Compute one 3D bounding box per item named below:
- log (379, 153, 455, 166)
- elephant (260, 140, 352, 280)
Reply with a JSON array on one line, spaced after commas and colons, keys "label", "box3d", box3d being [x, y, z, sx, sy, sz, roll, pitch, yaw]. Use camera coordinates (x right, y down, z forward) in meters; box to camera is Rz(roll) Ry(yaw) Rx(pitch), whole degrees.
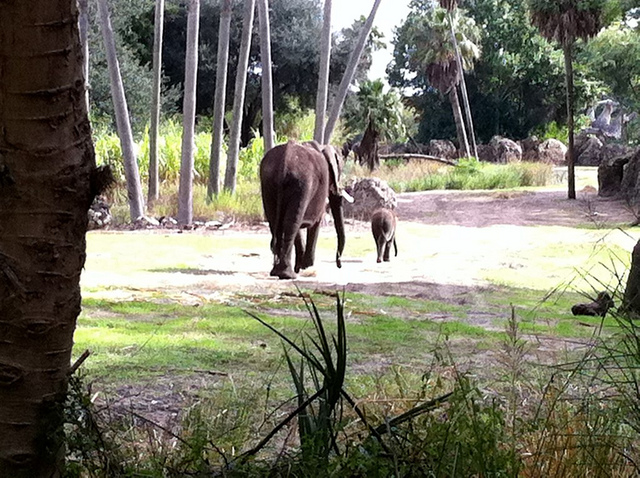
[{"label": "log", "box3d": [3.583, -2.894, 29.593, 2.600, 0.573, 3.881, -1, 3, 12]}, {"label": "elephant", "box3d": [-0.156, -0.457, 11.233, 0.887, 1.857, 2.901, 2, 2, 17]}]
